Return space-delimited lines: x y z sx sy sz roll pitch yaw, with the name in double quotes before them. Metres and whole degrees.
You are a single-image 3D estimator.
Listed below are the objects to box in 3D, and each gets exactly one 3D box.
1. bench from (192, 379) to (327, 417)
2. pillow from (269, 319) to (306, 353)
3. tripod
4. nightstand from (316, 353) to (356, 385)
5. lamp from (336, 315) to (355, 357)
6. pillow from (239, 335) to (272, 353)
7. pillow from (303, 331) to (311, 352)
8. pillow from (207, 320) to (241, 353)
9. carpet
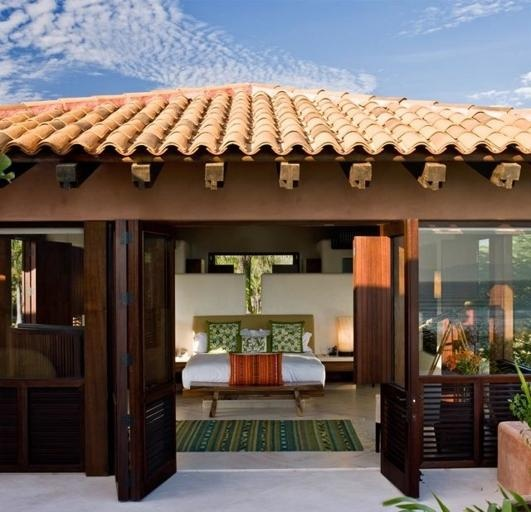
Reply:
"bench" -0.117 1.996 7.276 1.867 0.452 0.724 0 -3 5
"pillow" 0.359 1.361 8.571 0.485 0.464 0.124 0 -21 -3
"tripod" 1.838 1.040 4.914 0.717 0.889 0.085 0 -3 -12
"nightstand" 1.238 1.904 8.718 0.744 0.535 1.028 1 -2 -2
"lamp" 1.386 1.390 8.928 0.390 0.640 0.288 -1 -3 28
"pillow" -0.185 1.477 8.502 0.325 0.299 0.075 0 -24 -8
"pillow" 0.725 1.479 8.911 0.057 0.234 0.247 -2 -5 18
"pillow" -0.693 1.373 8.578 0.467 0.479 0.174 0 -30 -1
"carpet" 0.013 2.159 6.173 2.207 0.024 1.249 0 -3 0
